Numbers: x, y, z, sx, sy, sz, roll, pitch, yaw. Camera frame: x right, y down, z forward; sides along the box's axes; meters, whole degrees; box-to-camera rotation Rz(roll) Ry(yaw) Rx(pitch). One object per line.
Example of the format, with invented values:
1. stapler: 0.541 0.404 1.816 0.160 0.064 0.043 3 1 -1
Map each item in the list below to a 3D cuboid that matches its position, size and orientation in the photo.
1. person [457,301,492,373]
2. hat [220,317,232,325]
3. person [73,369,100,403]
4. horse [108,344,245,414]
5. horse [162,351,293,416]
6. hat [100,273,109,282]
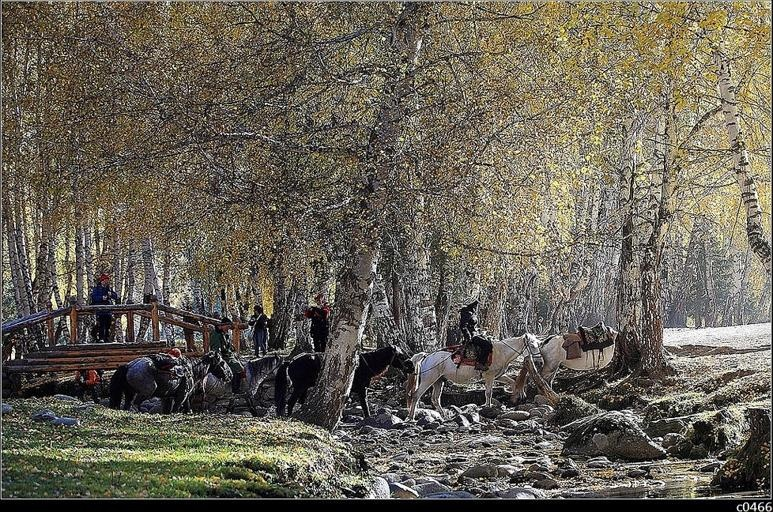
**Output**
1. person: 2.711 2.403 29.637 0.974 2.051 0.980 1 -10 -8
2. hat: -4.747 1.904 28.802 0.311 0.271 0.597 2 -11 -11
3. person: -9.331 4.038 30.467 0.760 1.030 1.972 3 -11 -17
4. horse: -6.275 3.553 27.898 3.099 1.751 0.778 4 -11 -20
5. horse: -4.346 3.972 29.309 3.099 1.590 0.758 -15 -7 19
6. hat: -8.623 0.633 29.821 0.214 0.138 0.241 9 -11 -23
